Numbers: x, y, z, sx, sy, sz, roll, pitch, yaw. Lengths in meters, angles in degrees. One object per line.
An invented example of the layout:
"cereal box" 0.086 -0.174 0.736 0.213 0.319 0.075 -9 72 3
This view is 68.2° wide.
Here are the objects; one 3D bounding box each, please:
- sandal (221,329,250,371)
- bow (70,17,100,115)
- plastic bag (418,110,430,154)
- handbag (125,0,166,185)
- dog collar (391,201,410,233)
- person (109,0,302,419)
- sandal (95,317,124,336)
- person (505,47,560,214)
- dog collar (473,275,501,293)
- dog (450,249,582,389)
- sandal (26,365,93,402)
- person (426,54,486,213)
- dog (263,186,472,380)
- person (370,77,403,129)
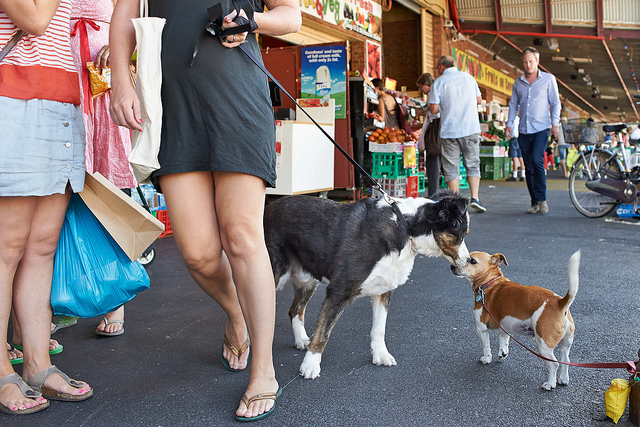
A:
"sandal" -0.552 0.846 3.041 0.137 0.077 0.391 24 16 -24
"bow" -1.532 -0.982 3.130 0.116 0.611 0.143 3 9 18
"plastic bag" 1.783 -1.416 8.170 0.175 0.709 0.805 2 10 12
"handbag" -0.878 -0.580 2.422 0.206 0.833 0.127 -3 9 -17
"dog collar" 0.497 0.013 2.939 0.055 0.240 0.031 -26 -5 -16
"person" -0.515 -0.068 2.621 0.664 2.183 0.504 3 9 19
"sandal" -1.527 0.820 3.440 0.210 0.094 0.113 0 10 1
"person" 3.619 -1.396 8.099 0.762 2.757 0.840 0 0 -36
"dog collar" 1.080 0.452 3.113 0.125 0.033 0.104 -33 3 -18
"dog" 1.222 0.547 2.951 0.367 0.858 0.799 -6 12 -32
"sandal" -1.468 0.958 2.714 0.334 0.147 0.162 5 1 5
"person" 2.111 -1.307 7.467 0.802 2.431 1.158 3 10 18
"dog" 0.269 0.401 3.096 1.304 1.094 0.676 1 10 4
"person" 1.457 -2.371 10.121 0.599 1.073 1.286 2 11 10
